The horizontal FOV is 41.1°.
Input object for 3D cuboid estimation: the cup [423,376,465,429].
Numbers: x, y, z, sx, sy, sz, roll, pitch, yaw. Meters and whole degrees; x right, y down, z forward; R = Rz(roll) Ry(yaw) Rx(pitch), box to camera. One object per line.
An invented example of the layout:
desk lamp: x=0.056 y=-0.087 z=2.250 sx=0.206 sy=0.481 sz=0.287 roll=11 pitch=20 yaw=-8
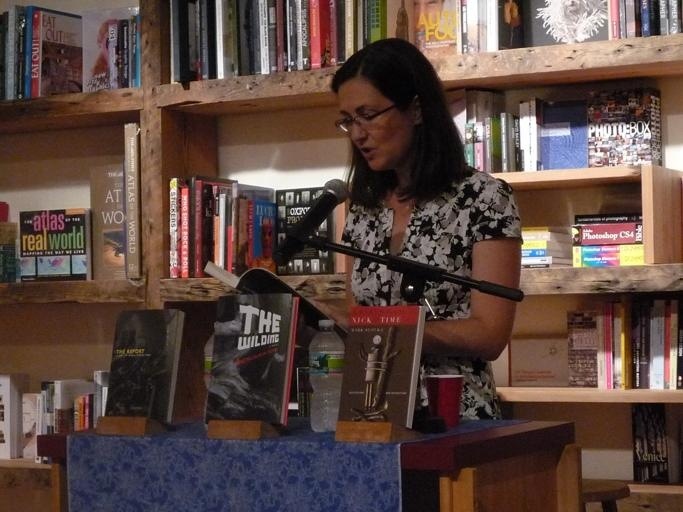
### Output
cup: x=0.234 y=0.358 z=2.245 sx=0.102 sy=0.120 sz=0.109 roll=-1 pitch=-6 yaw=0

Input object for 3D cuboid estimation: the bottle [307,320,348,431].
bottle: x=-0.037 y=0.294 z=2.193 sx=0.085 sy=0.247 sz=0.149 roll=0 pitch=0 yaw=-2

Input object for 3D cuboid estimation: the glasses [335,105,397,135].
glasses: x=0.052 y=-0.382 z=2.555 sx=0.194 sy=0.069 sz=0.070 roll=0 pitch=1 yaw=39

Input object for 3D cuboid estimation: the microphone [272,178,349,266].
microphone: x=-0.076 y=-0.092 z=2.313 sx=0.108 sy=0.197 sz=0.262 roll=0 pitch=1 yaw=19
